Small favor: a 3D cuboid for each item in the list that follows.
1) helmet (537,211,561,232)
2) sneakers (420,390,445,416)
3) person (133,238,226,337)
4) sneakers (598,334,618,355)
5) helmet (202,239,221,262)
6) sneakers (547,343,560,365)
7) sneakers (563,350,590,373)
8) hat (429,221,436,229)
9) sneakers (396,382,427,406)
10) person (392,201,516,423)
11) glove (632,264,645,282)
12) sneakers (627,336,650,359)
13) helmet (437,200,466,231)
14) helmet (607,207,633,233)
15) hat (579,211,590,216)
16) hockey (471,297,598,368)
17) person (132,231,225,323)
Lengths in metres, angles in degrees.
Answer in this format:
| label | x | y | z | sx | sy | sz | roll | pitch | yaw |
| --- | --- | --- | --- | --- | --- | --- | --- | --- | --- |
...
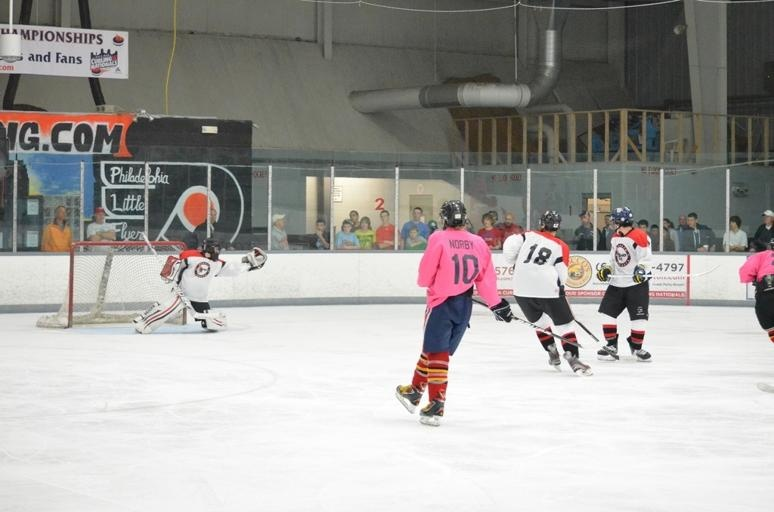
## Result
| label | x | y | z | sx | sy | sz | roll | pitch | yaw |
| --- | --- | --- | --- | --- | --- | --- | --- | --- | --- |
| helmet | 2.153 | -0.437 | 15.345 | 0.252 | 0.320 | 0.308 | 2 | 7 | -19 |
| sneakers | 0.514 | 1.607 | 13.174 | 0.262 | 0.343 | 0.198 | 1 | 13 | 6 |
| person | -2.945 | 0.491 | 18.026 | 1.342 | 1.524 | 1.001 | -4 | -22 | 31 |
| sneakers | 2.948 | 1.193 | 15.866 | 0.267 | 0.258 | 0.178 | -2 | 13 | -7 |
| helmet | -2.590 | -0.076 | 17.909 | 0.291 | 0.301 | 0.237 | 0 | 3 | 4 |
| sneakers | 2.140 | 1.262 | 15.255 | 0.167 | 0.321 | 0.299 | 1 | 13 | 7 |
| sneakers | 2.382 | 1.359 | 14.967 | 0.201 | 0.130 | 0.333 | -17 | 57 | -46 |
| hat | 0.845 | -0.541 | 21.418 | 0.113 | 0.148 | 0.147 | 0 | 35 | -16 |
| sneakers | 0.285 | 1.544 | 13.358 | 0.165 | 0.169 | 0.363 | 9 | 13 | -29 |
| person | 0.695 | 0.599 | 13.394 | 1.149 | 2.330 | 0.619 | -12 | 17 | -42 |
| glove | 3.353 | 0.241 | 15.876 | 0.131 | 0.214 | 0.080 | -3 | 4 | -2 |
| sneakers | 3.334 | 1.253 | 15.846 | 0.147 | 0.194 | 0.450 | -3 | 2 | -9 |
| helmet | 0.749 | -0.468 | 13.515 | 0.252 | 0.308 | 0.320 | 1 | 3 | 0 |
| helmet | 3.177 | -0.483 | 16.113 | 0.305 | 0.383 | 0.371 | -4 | 9 | -33 |
| hat | 3.580 | -0.751 | 21.560 | 0.077 | 0.063 | 0.116 | 4 | -8 | -19 |
| hockey | 1.974 | 1.070 | 16.087 | 1.629 | 0.523 | 0.106 | 26 | 51 | 31 |
| person | -2.973 | 0.463 | 17.959 | 1.222 | 1.356 | 0.847 | -1 | -20 | 3 |
